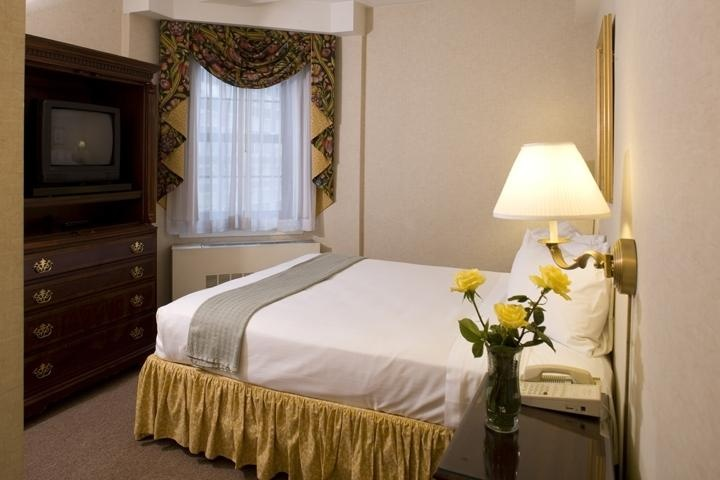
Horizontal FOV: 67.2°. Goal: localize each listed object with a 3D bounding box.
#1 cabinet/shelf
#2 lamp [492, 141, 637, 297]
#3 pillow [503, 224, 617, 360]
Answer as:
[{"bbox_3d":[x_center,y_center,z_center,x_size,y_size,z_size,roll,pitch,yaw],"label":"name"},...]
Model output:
[{"bbox_3d":[-1.995,0.452,3.832,0.419,1.110,1.133,11,12,23],"label":"cabinet/shelf"},{"bbox_3d":[0.870,-0.086,2.341,0.575,0.618,0.456,3,10,22],"label":"lamp"},{"bbox_3d":[1.036,0.315,2.687,0.166,0.700,0.581,8,1,-18],"label":"pillow"}]
